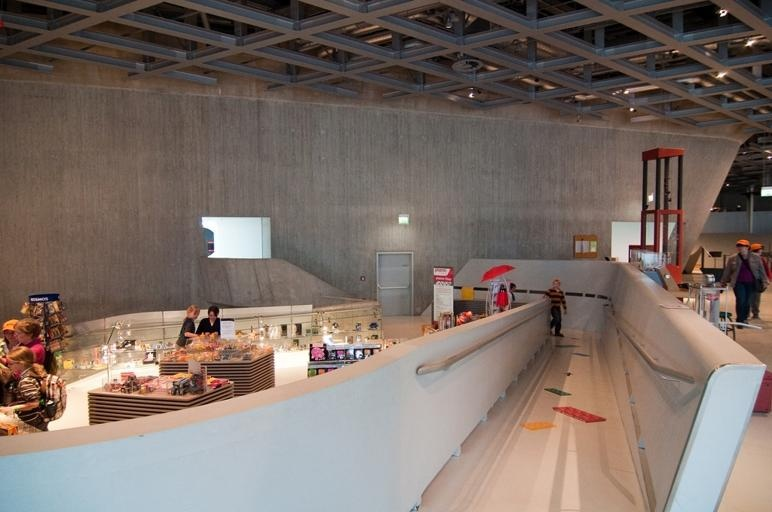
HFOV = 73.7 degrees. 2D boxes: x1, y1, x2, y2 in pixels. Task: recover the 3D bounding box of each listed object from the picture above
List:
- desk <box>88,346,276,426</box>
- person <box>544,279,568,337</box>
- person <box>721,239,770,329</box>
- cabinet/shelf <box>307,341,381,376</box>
[{"bbox_3d":[-2.621,1.666,6.924,1.577,0.875,2.195,1,6,10],"label":"desk"},{"bbox_3d":[3.859,1.213,11.634,0.409,1.288,1.147,2,7,18],"label":"person"},{"bbox_3d":[6.408,0.488,9.162,0.660,1.549,1.084,5,9,33],"label":"person"},{"bbox_3d":[-0.575,1.309,6.747,1.032,0.301,0.465,-3,7,-25],"label":"cabinet/shelf"}]
